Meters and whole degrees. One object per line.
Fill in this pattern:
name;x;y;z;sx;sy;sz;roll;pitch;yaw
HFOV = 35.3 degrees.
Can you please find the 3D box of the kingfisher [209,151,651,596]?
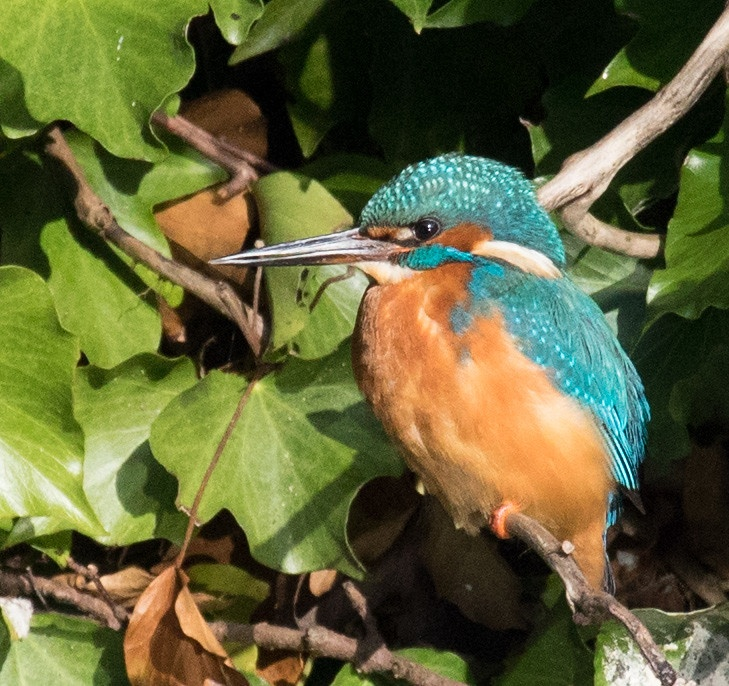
kingfisher;0.294;0.119;2.521;0.718;1.036;0.414;-17;25;-4
